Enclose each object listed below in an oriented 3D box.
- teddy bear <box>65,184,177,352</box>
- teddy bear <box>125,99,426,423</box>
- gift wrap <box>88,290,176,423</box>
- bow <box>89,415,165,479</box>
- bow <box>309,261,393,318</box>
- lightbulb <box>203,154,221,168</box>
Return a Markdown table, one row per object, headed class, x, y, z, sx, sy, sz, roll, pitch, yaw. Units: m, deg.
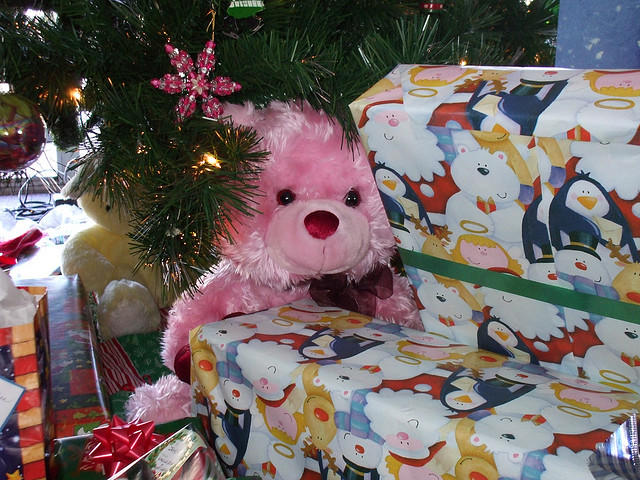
| class | x | y | z | sx | sy | sz | roll | pitch | yaw |
| --- | --- | --- | --- | --- | --- | --- | --- | --- | --- |
| teddy bear | -0.482 | 0.005 | 1.219 | 0.269 | 0.287 | 0.387 | 19 | 111 | 19 |
| teddy bear | -0.023 | 0.010 | 0.956 | 0.449 | 0.535 | 0.526 | -8 | 107 | -29 |
| gift wrap | -0.327 | 0.233 | 0.950 | 0.177 | 0.192 | 0.007 | -14 | 128 | -20 |
| bow | -0.215 | 0.222 | 0.533 | 0.076 | 0.075 | 0.053 | -8 | 109 | -30 |
| bow | 0.055 | 0.079 | 0.744 | 0.103 | 0.037 | 0.099 | 33 | 82 | -2 |
| lightbulb | -0.148 | -0.108 | 0.668 | 0.029 | 0.010 | 0.009 | 34 | 60 | 14 |
